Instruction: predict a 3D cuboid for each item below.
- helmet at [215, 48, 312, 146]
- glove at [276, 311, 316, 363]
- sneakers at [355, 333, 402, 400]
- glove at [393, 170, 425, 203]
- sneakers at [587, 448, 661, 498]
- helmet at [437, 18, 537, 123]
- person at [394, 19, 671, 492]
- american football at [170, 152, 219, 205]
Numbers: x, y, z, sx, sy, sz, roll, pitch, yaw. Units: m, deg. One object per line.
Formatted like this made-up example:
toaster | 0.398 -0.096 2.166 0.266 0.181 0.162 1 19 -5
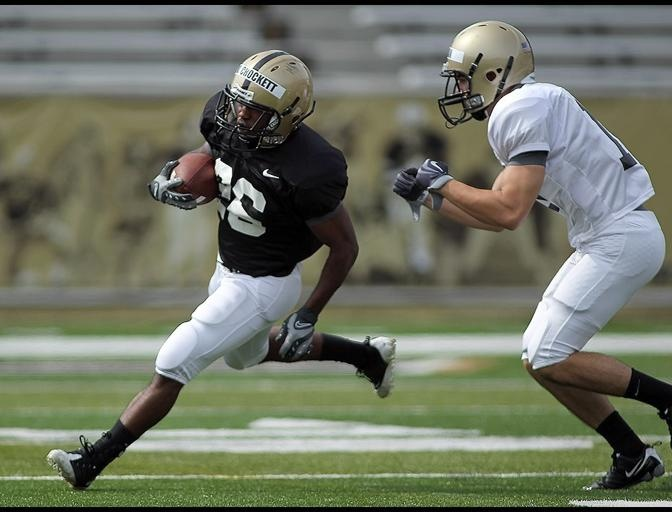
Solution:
helmet | -0.332 -0.858 5.624 0.507 0.400 0.572 17 32 13
glove | -0.209 0.408 5.514 0.203 0.256 0.079 37 -6 -14
sneakers | 0.250 0.618 6.303 0.237 0.412 0.152 -12 14 -7
glove | 0.427 -0.361 5.488 0.239 0.154 0.127 -2 46 -2
sneakers | 1.516 1.083 5.522 0.453 0.181 0.142 -19 0 14
helmet | 0.802 -0.966 5.633 0.587 0.499 0.428 -3 8 18
person | 1.085 -0.004 5.535 1.302 2.378 0.508 1 8 4
american football | -0.688 -0.410 5.670 0.230 0.222 0.281 23 2 0
